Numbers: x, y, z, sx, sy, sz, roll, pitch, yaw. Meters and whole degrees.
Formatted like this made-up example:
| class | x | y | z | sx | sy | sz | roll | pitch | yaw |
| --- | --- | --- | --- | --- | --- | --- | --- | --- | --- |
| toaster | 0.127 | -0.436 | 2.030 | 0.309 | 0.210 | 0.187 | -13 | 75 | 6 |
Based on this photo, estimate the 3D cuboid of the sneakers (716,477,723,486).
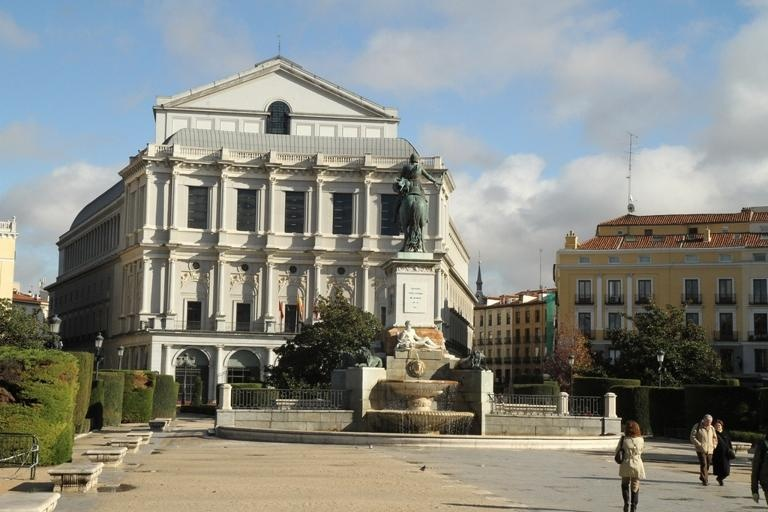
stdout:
| class | x | y | z | sx | sy | sz | roll | pitch | yaw |
| --- | --- | --- | --- | --- | --- | --- | --- | --- | --- |
| sneakers | 10.638 | 7.186 | 33.610 | 0.274 | 0.233 | 0.211 | -3 | -3 | 15 |

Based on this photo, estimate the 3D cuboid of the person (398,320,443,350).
| class | x | y | z | sx | sy | sz | roll | pitch | yaw |
| --- | --- | --- | --- | --- | --- | --- | --- | --- | --- |
| person | 1.532 | 3.426 | 44.449 | 1.750 | 0.934 | 1.076 | 1 | -6 | 10 |

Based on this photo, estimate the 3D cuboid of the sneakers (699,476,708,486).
| class | x | y | z | sx | sy | sz | roll | pitch | yaw |
| --- | --- | --- | --- | --- | --- | --- | --- | --- | --- |
| sneakers | 10.067 | 7.170 | 33.448 | 0.234 | 0.355 | 0.204 | -3 | -20 | -6 |
